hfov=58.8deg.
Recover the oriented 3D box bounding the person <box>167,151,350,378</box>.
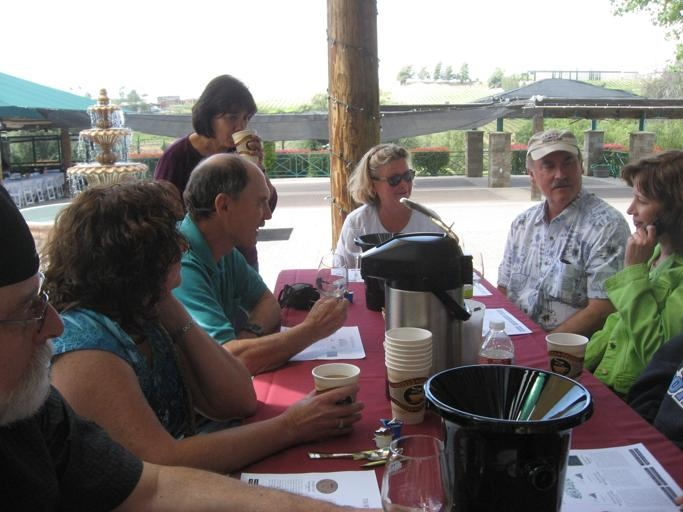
[{"bbox_3d":[-0.472,-0.020,2.578,0.975,1.010,0.712,-1,16,-1],"label":"person"}]

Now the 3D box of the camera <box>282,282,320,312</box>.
[{"bbox_3d":[-0.212,0.203,3.033,0.184,0.114,0.079,1,3,19],"label":"camera"}]

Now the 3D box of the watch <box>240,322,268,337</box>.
[{"bbox_3d":[-0.394,0.337,2.718,0.088,0.087,0.053,12,47,-9],"label":"watch"}]

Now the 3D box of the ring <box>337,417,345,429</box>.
[{"bbox_3d":[0.000,0.501,1.824,0.024,0.018,0.032,0,6,-5],"label":"ring"}]

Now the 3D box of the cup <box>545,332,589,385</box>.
[{"bbox_3d":[0.785,0.349,2.111,0.147,0.126,0.164,0,5,-1],"label":"cup"}]

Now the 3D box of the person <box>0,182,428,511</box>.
[{"bbox_3d":[-0.352,0.147,2.148,1.104,1.178,0.677,-9,9,-13],"label":"person"}]
